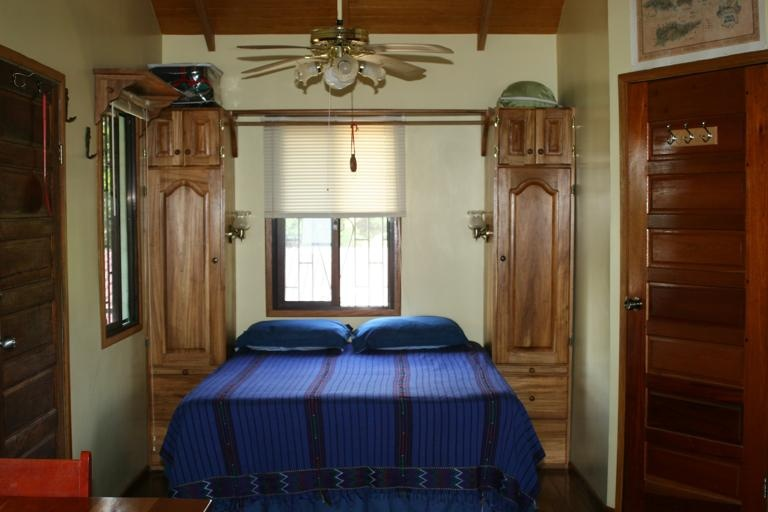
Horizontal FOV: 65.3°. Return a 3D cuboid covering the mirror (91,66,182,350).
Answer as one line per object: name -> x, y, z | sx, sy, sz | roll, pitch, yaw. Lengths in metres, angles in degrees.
mirror -> -1.921, -0.370, 4.696 | 0.469, 2.029, 0.749 | -1, 5, -11

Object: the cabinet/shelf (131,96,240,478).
cabinet/shelf -> -1.665, 0.006, 5.453 | 0.826, 2.680, 0.820 | -1, 23, -16

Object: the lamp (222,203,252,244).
lamp -> -1.317, -0.273, 5.286 | 0.271, 0.356, 0.231 | -2, -2, 36

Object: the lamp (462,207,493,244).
lamp -> 0.843, -0.277, 5.297 | 0.259, 0.321, 0.225 | -1, 1, -45
